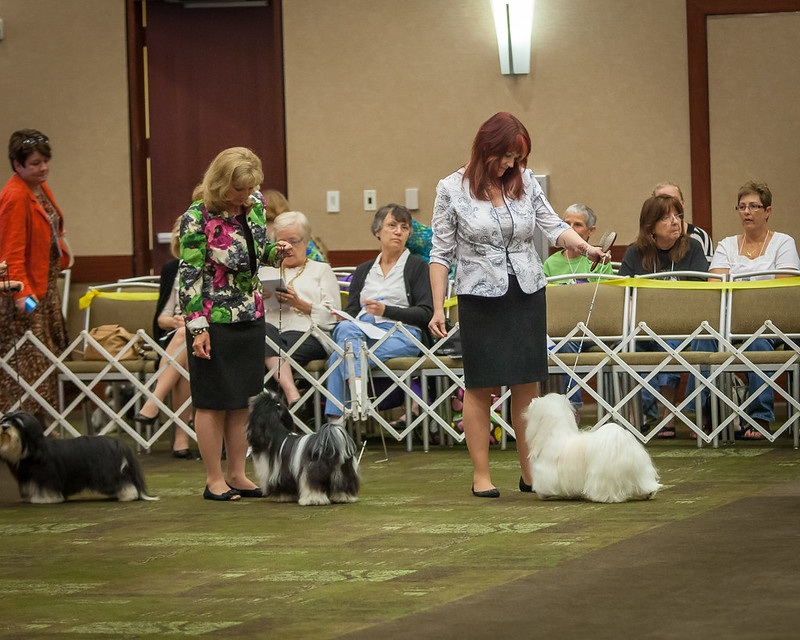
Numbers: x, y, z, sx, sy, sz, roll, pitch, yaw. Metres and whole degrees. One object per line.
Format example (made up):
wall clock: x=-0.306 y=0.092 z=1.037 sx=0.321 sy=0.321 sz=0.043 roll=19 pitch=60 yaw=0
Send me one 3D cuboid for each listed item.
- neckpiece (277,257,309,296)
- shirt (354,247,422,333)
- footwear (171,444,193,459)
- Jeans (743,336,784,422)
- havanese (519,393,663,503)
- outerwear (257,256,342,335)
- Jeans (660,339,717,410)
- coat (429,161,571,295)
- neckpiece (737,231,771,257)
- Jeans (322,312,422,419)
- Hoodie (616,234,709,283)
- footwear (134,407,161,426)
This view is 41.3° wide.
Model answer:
neckpiece: x=-0.648 y=-0.236 z=6.422 sx=0.202 sy=0.226 sz=0.091 roll=-2 pitch=-15 yaw=-1
shirt: x=-0.062 y=-0.171 z=6.548 sx=0.582 sy=0.401 sz=0.326 roll=-1 pitch=-12 yaw=31
footwear: x=-1.345 y=0.816 z=6.555 sx=0.093 sy=0.062 sz=0.236 roll=2 pitch=-5 yaw=-24
Jeans: x=2.111 y=0.363 z=6.220 sx=0.175 sy=0.523 sz=0.545 roll=-3 pitch=2 yaw=19
havanese: x=0.872 y=0.596 z=4.862 sx=0.506 sy=0.308 sz=0.274 roll=-1 pitch=16 yaw=36
outerwear: x=-0.591 y=-0.134 z=6.275 sx=0.537 sy=0.423 sz=0.281 roll=-4 pitch=-13 yaw=-2
Jeans: x=1.805 y=0.345 z=6.505 sx=0.297 sy=0.474 sz=0.721 roll=-3 pitch=2 yaw=15
coat: x=0.450 y=-0.402 z=4.753 sx=0.636 sy=0.589 sz=0.255 roll=-3 pitch=2 yaw=0
neckpiece: x=2.326 y=-0.490 z=6.988 sx=0.153 sy=0.219 sz=0.054 roll=2 pitch=-44 yaw=27
Jeans: x=0.005 y=0.296 z=6.602 sx=0.697 sy=0.658 sz=0.556 roll=4 pitch=-1 yaw=13
Hoodie: x=1.685 y=-0.374 z=6.751 sx=0.615 sy=0.371 sz=0.306 roll=-1 pitch=-11 yaw=12
footwear: x=-1.504 y=0.590 z=6.355 sx=0.072 sy=0.047 sz=0.122 roll=1 pitch=-13 yaw=19
